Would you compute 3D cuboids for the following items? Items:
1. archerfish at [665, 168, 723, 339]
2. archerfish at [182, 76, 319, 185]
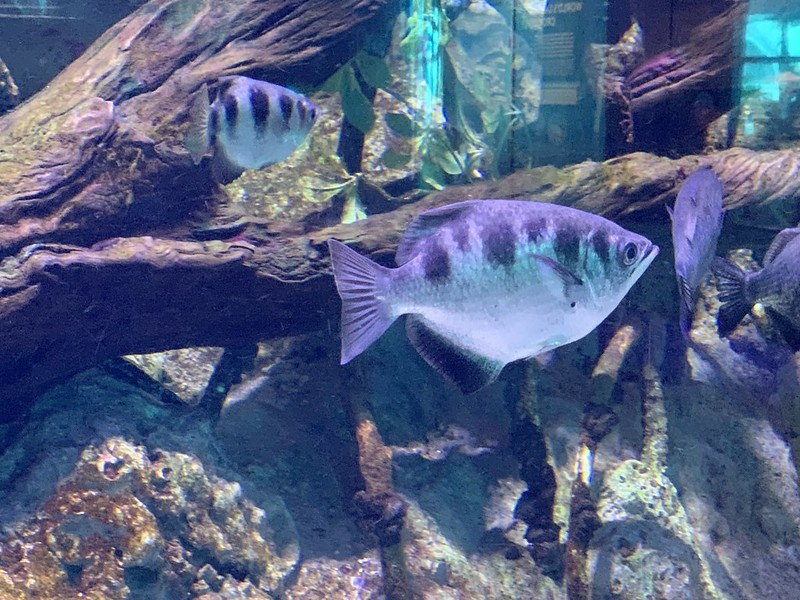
[{"bbox_3d":[1.417,-0.315,4.452,0.203,0.665,0.502,-2,-28,22],"label":"archerfish"},{"bbox_3d":[-0.748,-0.909,4.844,0.714,0.523,0.352,-14,23,-32],"label":"archerfish"}]
